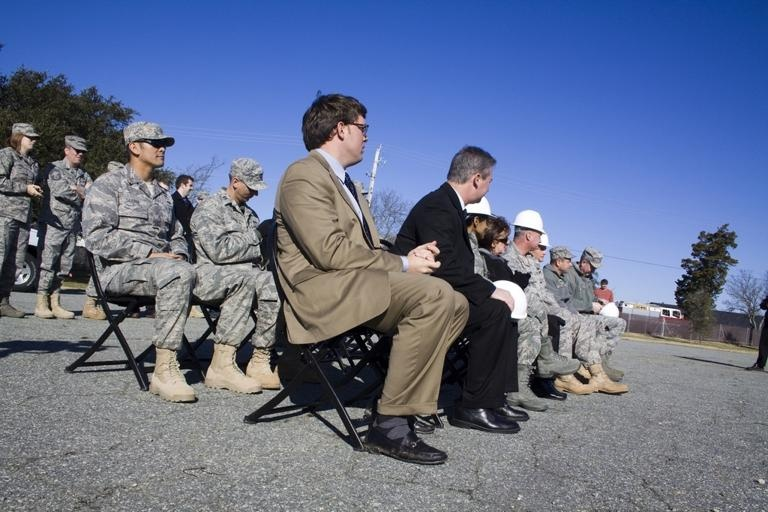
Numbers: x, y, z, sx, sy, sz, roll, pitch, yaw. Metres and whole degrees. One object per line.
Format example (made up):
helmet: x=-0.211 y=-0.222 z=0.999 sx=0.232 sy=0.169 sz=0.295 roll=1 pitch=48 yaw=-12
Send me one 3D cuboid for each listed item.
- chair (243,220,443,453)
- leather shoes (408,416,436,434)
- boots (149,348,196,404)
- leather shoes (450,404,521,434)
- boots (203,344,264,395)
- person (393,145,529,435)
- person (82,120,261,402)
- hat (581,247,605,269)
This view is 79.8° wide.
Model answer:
chair: x=-0.410 y=0.773 z=4.762 sx=1.996 sy=2.609 sz=1.613 roll=-4 pitch=-9 yaw=31
leather shoes: x=0.291 y=1.359 z=3.777 sx=0.139 sy=0.101 sz=0.278 roll=2 pitch=-7 yaw=-39
boots: x=-1.794 y=1.018 z=3.949 sx=0.568 sy=0.397 sz=0.207 roll=6 pitch=1 yaw=36
leather shoes: x=0.881 y=1.376 z=4.020 sx=0.605 sy=0.278 sz=0.227 roll=-1 pitch=-2 yaw=12
boots: x=-1.395 y=1.041 z=4.373 sx=0.559 sy=0.450 sz=0.209 roll=7 pitch=4 yaw=7
person: x=0.732 y=0.258 z=4.400 sx=1.423 sy=2.543 sz=1.006 roll=4 pitch=5 yaw=14
person: x=-2.091 y=-0.035 z=4.309 sx=1.237 sy=2.611 sz=0.849 roll=6 pitch=-1 yaw=22
hat: x=3.081 y=0.042 z=6.939 sx=0.295 sy=0.158 sz=0.231 roll=36 pitch=28 yaw=17
